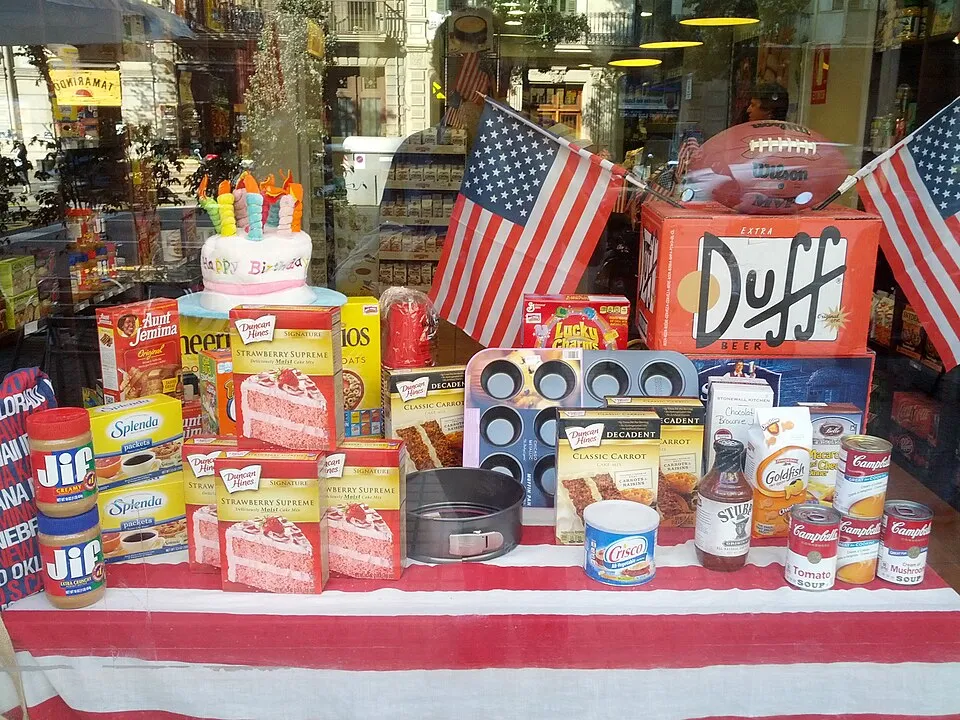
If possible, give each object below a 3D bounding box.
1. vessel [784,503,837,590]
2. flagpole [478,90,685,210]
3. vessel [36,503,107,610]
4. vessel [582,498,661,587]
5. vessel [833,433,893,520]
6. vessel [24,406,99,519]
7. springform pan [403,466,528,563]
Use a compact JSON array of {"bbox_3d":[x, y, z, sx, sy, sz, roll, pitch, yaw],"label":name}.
[{"bbox_3d":[0.755,0.426,1.687,0.108,0.164,0.102,-2,11,-16],"label":"vessel"},{"bbox_3d":[0.332,-0.695,2.464,0.781,0.034,0.047,30,23,5],"label":"flagpole"},{"bbox_3d":[-0.917,0.434,1.649,0.151,0.226,0.139,-7,4,-36],"label":"vessel"},{"bbox_3d":[0.319,0.392,1.706,0.169,0.126,0.173,9,18,26],"label":"vessel"},{"bbox_3d":[0.866,0.267,1.689,0.102,0.165,0.123,5,17,26],"label":"vessel"},{"bbox_3d":[-0.892,0.216,1.611,0.113,0.213,0.139,-3,16,-3],"label":"vessel"},{"bbox_3d":[-0.042,0.371,1.766,0.229,0.080,0.223,9,14,43],"label":"springform pan"}]
